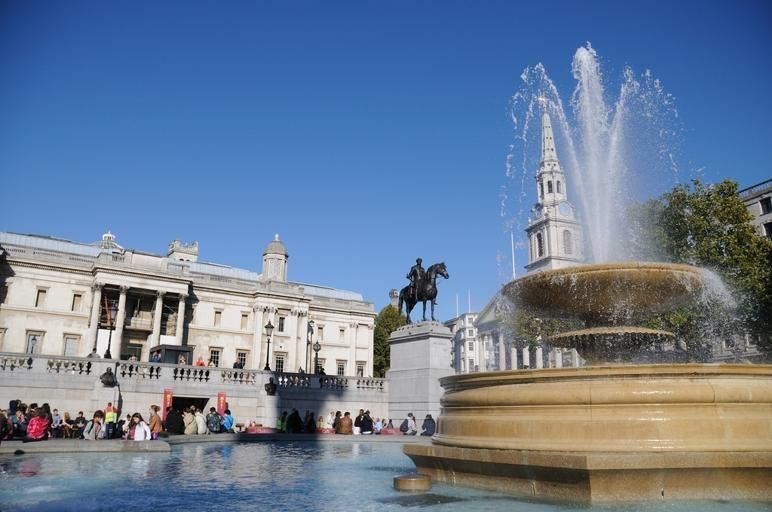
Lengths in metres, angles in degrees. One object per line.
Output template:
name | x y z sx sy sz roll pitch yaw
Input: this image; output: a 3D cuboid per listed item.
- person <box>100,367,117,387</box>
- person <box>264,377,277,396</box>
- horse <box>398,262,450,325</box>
person | -10.601 4.619 24.400 0.611 0.748 0.412 7 -19 -29
person | -4.931 5.502 27.138 0.485 0.797 0.457 3 -17 -16
horse | 1.510 1.729 27.579 1.070 2.424 3.381 13 -19 -31
